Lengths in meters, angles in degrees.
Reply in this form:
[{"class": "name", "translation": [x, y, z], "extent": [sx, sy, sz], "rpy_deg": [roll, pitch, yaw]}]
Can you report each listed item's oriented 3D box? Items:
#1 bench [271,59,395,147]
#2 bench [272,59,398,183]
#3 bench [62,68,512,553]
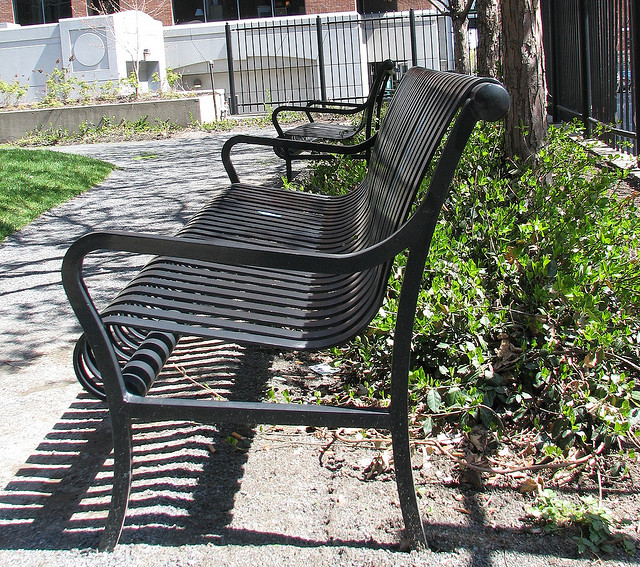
[{"class": "bench", "translation": [0.231, -1.851, 5.897], "extent": [1.083, 0.811, 1.648], "rpy_deg": [3, 20, 5]}, {"class": "bench", "translation": [0.085, -1.504, 5.551], "extent": [1.161, 1.090, 1.413], "rpy_deg": [-1, 14, -7]}, {"class": "bench", "translation": [-0.127, -0.175, 2.311], "extent": [1.496, 1.334, 2.107], "rpy_deg": [2, 16, 11]}]
